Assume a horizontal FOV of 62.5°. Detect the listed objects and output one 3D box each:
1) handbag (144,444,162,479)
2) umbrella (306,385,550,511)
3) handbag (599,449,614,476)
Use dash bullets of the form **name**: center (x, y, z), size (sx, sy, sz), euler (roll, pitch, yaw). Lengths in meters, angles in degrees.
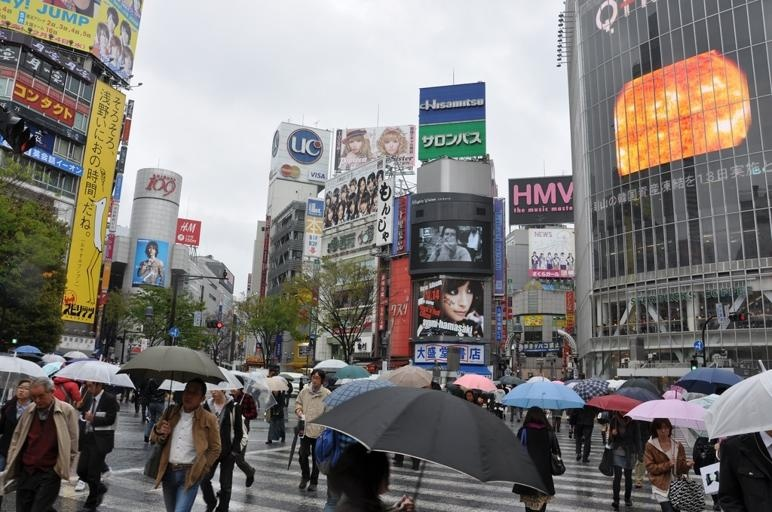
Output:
- **handbag**: center (-4.126, 3.623, 11.280), size (0.251, 0.600, 0.556), euler (8, -15, -20)
- **umbrella**: center (0.686, 2.502, 8.957), size (2.862, 1.274, 0.958), euler (4, -14, -5)
- **handbag**: center (5.532, 5.143, 15.937), size (0.320, 0.711, 0.932), euler (-2, -15, 19)
